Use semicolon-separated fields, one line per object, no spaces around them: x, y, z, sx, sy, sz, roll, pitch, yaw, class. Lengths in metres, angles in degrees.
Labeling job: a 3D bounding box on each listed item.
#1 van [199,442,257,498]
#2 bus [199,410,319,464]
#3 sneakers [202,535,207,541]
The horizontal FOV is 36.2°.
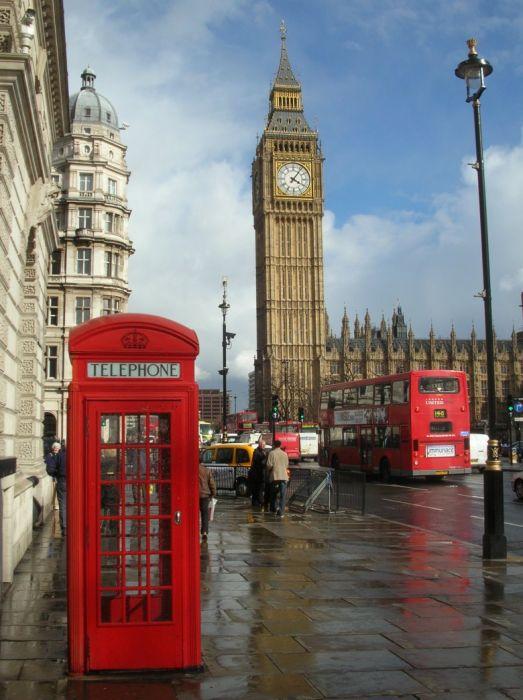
-1.018;3.690;25.582;2.375;1.274;1.299;0;-3;41;van
1.256;6.036;56.249;3.793;4.003;11.223;2;-9;-26;bus
-0.952;3.078;13.102;0.086;0.131;0.072;2;-25;-11;sneakers
